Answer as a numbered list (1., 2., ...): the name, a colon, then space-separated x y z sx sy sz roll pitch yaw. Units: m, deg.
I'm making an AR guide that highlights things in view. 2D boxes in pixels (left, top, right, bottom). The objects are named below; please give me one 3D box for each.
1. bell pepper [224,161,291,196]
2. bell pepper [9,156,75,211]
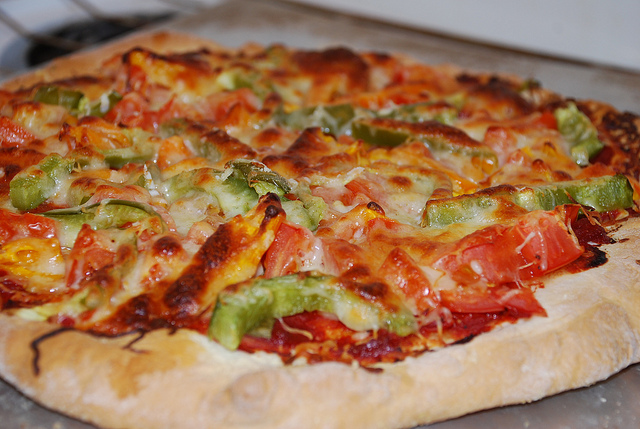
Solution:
1. bell pepper: -0.212 -0.123 2.316 0.234 0.196 0.066 9 74 17
2. bell pepper: -1.044 -0.117 2.376 0.153 0.183 0.248 10 23 29
